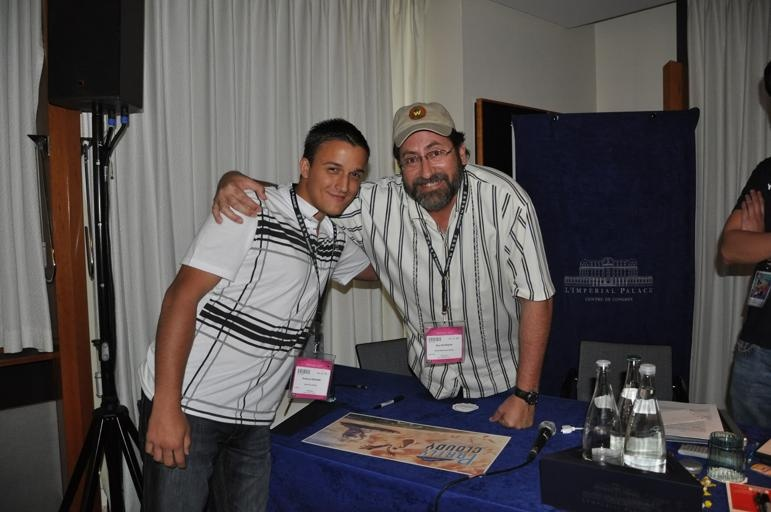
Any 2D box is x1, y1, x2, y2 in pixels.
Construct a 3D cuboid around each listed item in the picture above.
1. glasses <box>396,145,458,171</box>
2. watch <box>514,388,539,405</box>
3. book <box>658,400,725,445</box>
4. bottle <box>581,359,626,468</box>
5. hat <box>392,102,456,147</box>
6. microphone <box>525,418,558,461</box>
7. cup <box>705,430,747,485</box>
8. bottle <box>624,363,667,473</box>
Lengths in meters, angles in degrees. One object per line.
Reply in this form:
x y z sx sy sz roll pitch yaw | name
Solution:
0.231 -0.540 3.218 0.328 0.131 0.137 2 4 5 | glasses
0.736 0.724 2.976 0.113 0.075 0.112 9 -10 37 | watch
1.542 0.834 2.888 0.205 0.053 0.214 4 13 26 | book
0.989 0.720 2.587 0.177 0.386 0.112 2 4 17 | bottle
0.219 -0.738 3.218 0.332 0.268 0.192 2 3 4 | hat
0.773 0.897 2.818 0.078 0.083 0.297 6 20 30 | microphone
1.544 0.923 2.691 0.173 0.215 0.192 0 5 -11 | cup
1.151 0.695 2.516 0.172 0.458 0.147 3 4 27 | bottle
